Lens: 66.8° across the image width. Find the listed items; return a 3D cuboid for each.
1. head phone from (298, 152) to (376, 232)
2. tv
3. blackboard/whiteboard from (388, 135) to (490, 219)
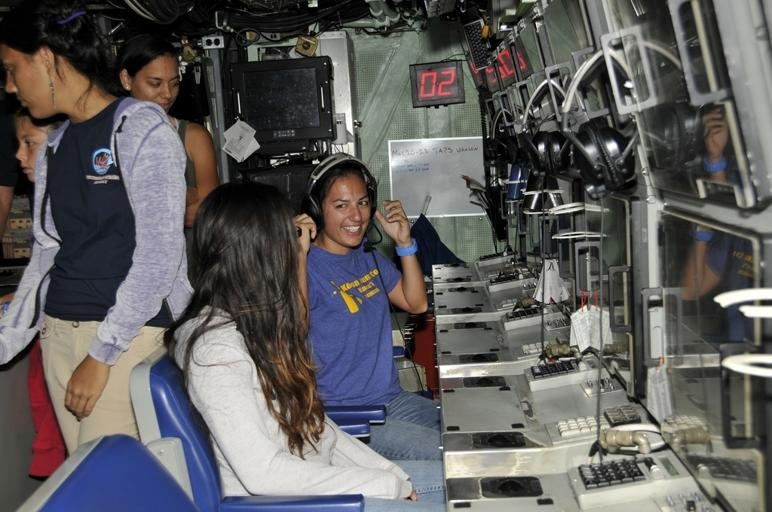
[{"bbox_3d":[-0.200,-0.297,2.798,0.362,0.341,0.138,3,7,-15],"label":"head phone"},{"bbox_3d":[-0.811,-1.202,4.553,0.613,0.530,0.261,-3,8,3],"label":"tv"},{"bbox_3d":[0.594,-0.840,6.035,1.065,0.822,0.042,0,4,5],"label":"blackboard/whiteboard"}]
